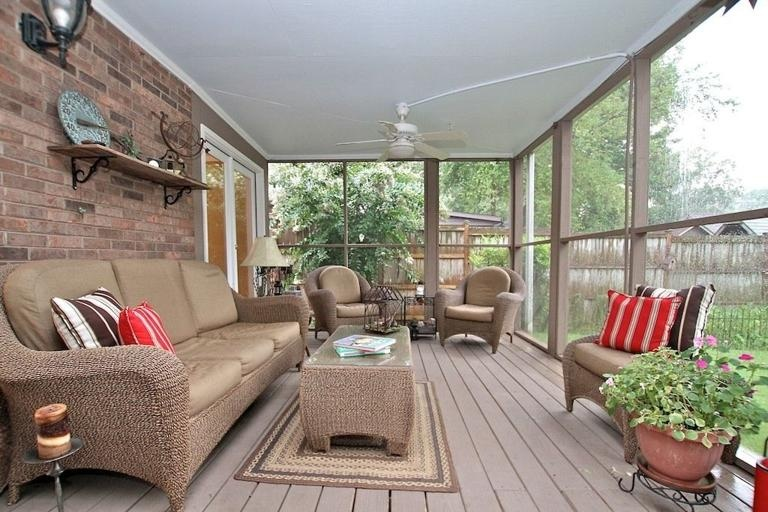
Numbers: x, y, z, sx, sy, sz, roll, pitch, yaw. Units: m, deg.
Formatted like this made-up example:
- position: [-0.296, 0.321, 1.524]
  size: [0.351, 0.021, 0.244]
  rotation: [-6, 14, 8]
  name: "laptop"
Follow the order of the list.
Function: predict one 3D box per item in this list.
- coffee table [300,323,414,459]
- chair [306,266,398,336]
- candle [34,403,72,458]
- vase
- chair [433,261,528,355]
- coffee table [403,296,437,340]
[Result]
- position: [-0.199, 0.826, 3.468]
  size: [0.628, 0.472, 1.133]
  rotation: [0, -1, 1]
  name: "coffee table"
- position: [-0.494, 0.625, 6.114]
  size: [1.016, 0.899, 0.939]
  rotation: [1, 0, -7]
  name: "chair"
- position: [-1.875, 0.999, 2.717]
  size: [0.146, 0.285, 0.157]
  rotation: [2, 3, 43]
  name: "candle"
- position: [1.785, 1.145, 2.913]
  size: [0.410, 0.268, 0.410]
  rotation: [0, -8, 0]
  name: "vase"
- position: [1.191, 0.605, 5.888]
  size: [1.013, 0.930, 0.980]
  rotation: [2, 1, 44]
  name: "chair"
- position: [0.528, 0.808, 6.403]
  size: [0.345, 0.522, 0.462]
  rotation: [-2, -3, -2]
  name: "coffee table"
